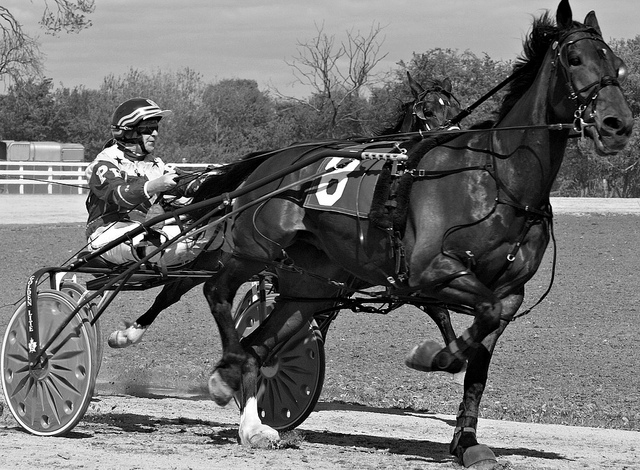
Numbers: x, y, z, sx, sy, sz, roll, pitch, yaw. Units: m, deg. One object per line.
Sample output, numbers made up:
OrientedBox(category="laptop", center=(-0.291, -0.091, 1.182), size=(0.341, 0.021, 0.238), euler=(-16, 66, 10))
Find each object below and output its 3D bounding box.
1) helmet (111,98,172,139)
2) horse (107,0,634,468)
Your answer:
OrientedBox(category="helmet", center=(-1.670, -1.109, 10.762), size=(0.682, 0.264, 0.409), euler=(-16, -3, 16))
OrientedBox(category="horse", center=(0.518, -0.038, 9.384), size=(3.757, 3.679, 1.161), euler=(5, 7, 27))
